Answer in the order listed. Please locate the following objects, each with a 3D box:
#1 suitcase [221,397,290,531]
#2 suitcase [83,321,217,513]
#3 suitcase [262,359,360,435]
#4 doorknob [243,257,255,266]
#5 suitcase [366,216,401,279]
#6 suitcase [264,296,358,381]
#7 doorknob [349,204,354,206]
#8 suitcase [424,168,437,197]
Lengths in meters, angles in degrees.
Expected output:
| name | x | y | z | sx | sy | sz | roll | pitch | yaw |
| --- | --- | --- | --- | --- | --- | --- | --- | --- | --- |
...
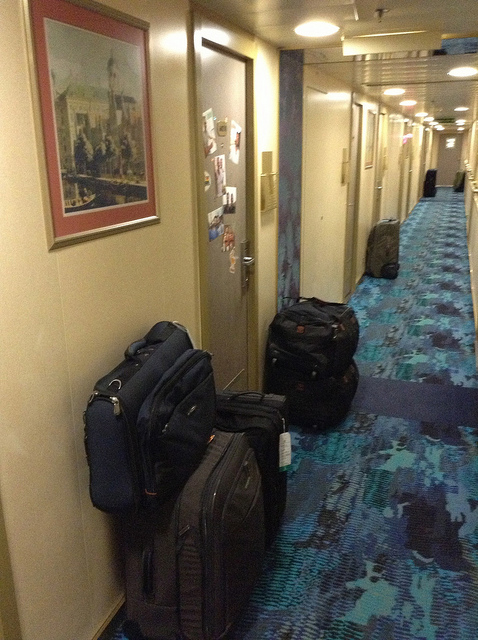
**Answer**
| name | x | y | z | sx | sy | sz | roll | pitch | yaw |
| --- | --- | --- | --- | --- | --- | --- | --- | --- | --- |
| suitcase | 0.036 | 0.619 | 2.299 | 0.366 | 0.576 | 0.321 | 1 | -14 | -2 |
| suitcase | -0.275 | 0.282 | 1.675 | 0.316 | 0.443 | 0.628 | 1 | 18 | 15 |
| suitcase | 0.525 | 0.486 | 3.528 | 0.524 | 0.525 | 0.516 | 13 | -16 | 21 |
| doorknob | 0.055 | -0.364 | 3.054 | 0.018 | 0.059 | 0.101 | 7 | 21 | 31 |
| suitcase | 2.236 | -1.094 | 7.763 | 0.485 | 0.837 | 0.539 | 2 | 18 | 18 |
| suitcase | 0.517 | 0.085 | 3.482 | 0.489 | 0.500 | 0.517 | 14 | 20 | 39 |
| doorknob | 1.408 | -1.452 | 6.246 | 0.045 | 0.021 | 0.062 | 11 | 26 | 31 |
| suitcase | 7.610 | -5.400 | 19.705 | 0.609 | 1.050 | 0.430 | -8 | 18 | -11 |
